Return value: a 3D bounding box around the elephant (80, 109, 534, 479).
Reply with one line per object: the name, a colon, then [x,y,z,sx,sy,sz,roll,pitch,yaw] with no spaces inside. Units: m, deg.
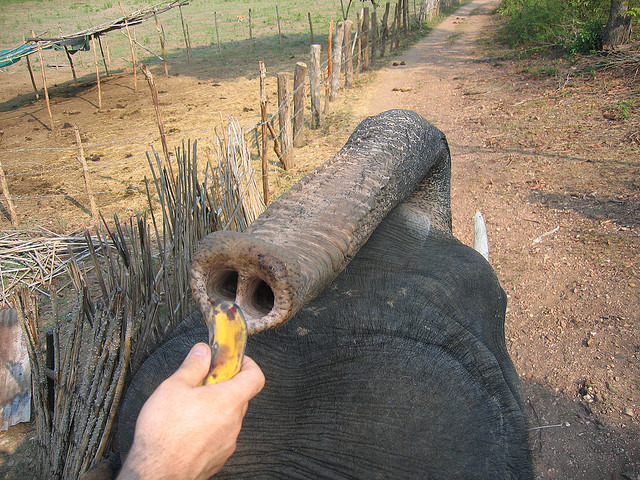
elephant: [-0.046,0.357,4.227,1.456,2.022,3.577,13,62,15]
